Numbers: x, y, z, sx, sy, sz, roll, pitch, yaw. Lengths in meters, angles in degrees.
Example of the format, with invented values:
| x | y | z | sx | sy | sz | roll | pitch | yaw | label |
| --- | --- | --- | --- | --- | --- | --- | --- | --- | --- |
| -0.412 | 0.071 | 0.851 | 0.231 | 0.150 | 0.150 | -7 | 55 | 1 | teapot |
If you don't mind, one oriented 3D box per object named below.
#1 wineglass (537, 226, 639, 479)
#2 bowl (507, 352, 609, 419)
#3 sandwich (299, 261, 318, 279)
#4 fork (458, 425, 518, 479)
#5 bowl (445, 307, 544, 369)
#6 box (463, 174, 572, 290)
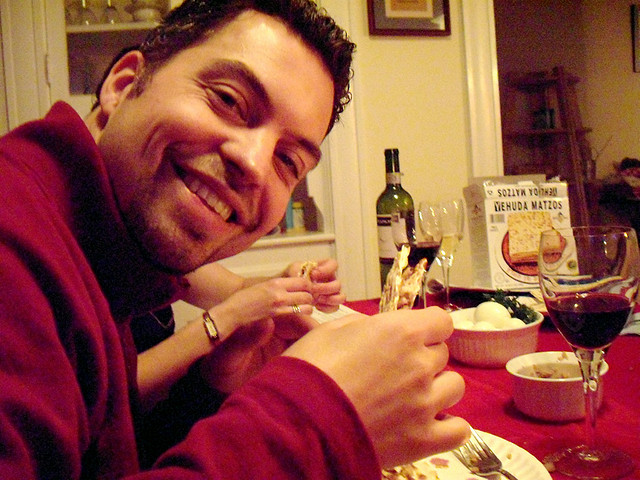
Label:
| x | y | z | sx | sy | sz | roll | pitch | yaw | label |
| --- | --- | --- | --- | --- | --- | --- | --- | --- | --- |
| 0.389 | 0.147 | 0.736 | 0.137 | 0.315 | 0.162 | -3 | 5 | 20 | wineglass |
| 0.390 | 0.254 | 0.861 | 0.150 | 0.080 | 0.151 | -4 | -5 | 0 | bowl |
| -0.030 | 0.082 | 1.461 | 0.021 | 0.029 | 0.072 | 2 | 22 | 12 | sandwich |
| 0.218 | 0.296 | 0.711 | 0.023 | 0.020 | 0.135 | -18 | 19 | -10 | fork |
| 0.361 | 0.207 | 1.104 | 0.200 | 0.091 | 0.201 | -4 | 2 | 0 | bowl |
| 0.513 | -0.024 | 1.368 | 0.295 | 0.369 | 0.128 | 0 | -12 | -2 | box |
